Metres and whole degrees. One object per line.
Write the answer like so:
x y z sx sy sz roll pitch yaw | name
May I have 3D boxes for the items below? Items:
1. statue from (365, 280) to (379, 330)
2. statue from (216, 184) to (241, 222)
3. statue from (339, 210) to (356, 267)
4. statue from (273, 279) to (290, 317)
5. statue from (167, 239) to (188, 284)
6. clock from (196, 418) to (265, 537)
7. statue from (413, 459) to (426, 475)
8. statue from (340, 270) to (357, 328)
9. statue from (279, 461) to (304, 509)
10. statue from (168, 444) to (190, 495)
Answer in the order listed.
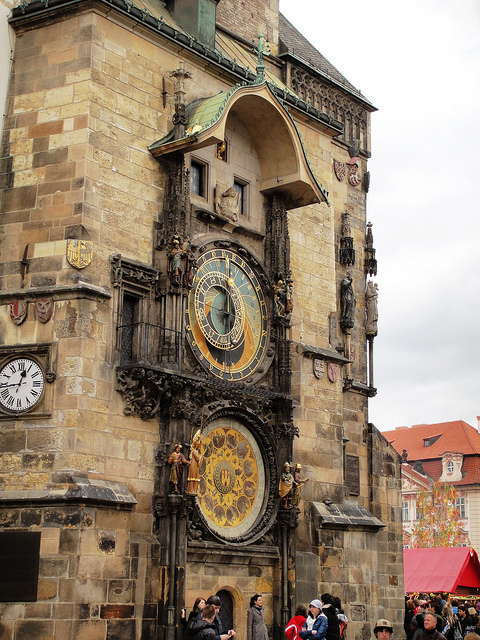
3.570 -0.394 31.231 0.335 1.555 0.766 -1 -16 6 | statue
-0.280 -2.466 24.320 0.187 0.851 0.623 -23 -31 34 | statue
2.832 -2.241 30.520 0.364 1.636 0.450 -4 -16 16 | statue
0.903 -0.471 25.009 0.362 0.820 0.179 1 -16 -2 | statue
-1.195 -1.096 21.867 0.371 0.889 0.244 3 -16 -8 | statue
-0.252 3.211 22.799 0.110 2.468 2.318 -4 -3 21 | clock
12.088 10.073 77.356 0.326 1.222 0.583 18 -47 -11 | statue
2.789 -0.522 29.747 0.358 1.834 1.170 -2 -16 8 | statue
1.005 3.454 23.789 0.392 1.010 0.296 13 -20 -38 | statue
-1.128 2.754 20.903 0.373 0.939 0.242 4 -16 -12 | statue
